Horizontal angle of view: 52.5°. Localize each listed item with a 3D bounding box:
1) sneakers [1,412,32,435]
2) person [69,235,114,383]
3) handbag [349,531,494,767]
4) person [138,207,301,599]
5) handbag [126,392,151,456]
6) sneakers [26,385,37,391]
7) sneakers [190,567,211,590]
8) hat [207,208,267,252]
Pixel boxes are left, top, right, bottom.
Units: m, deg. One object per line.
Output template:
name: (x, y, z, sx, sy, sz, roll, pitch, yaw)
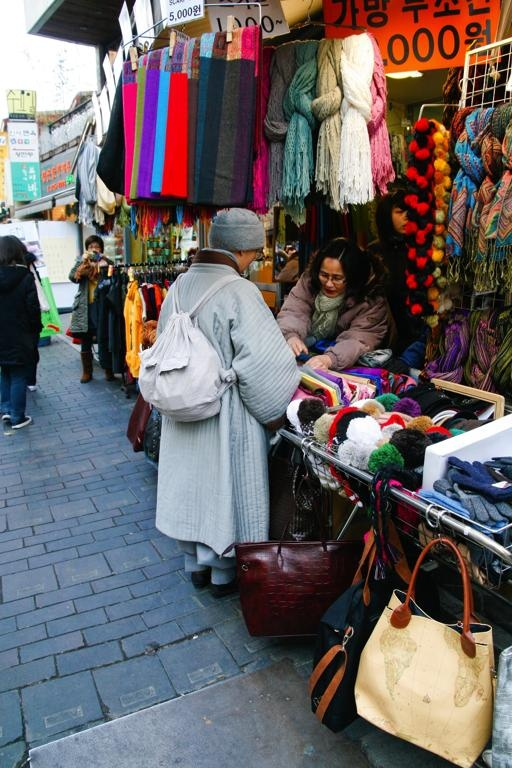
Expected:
sneakers: (-2.529, 0.416, 5.451, 0.134, 0.156, 0.382, 5, 15, 16)
person: (-2.170, -0.952, 6.808, 0.592, 1.953, 1.052, -6, 11, -20)
handbag: (0.374, 0.589, 1.203, 0.347, 0.543, 0.118, 7, 14, 43)
person: (-0.201, 0.093, 2.481, 0.717, 1.705, 0.728, 0, 18, -3)
handbag: (-0.893, 0.326, 3.911, 0.172, 0.623, 0.445, 2, 12, -16)
sneakers: (-2.940, 0.054, 6.798, 0.069, 0.090, 0.198, -8, 3, -30)
sneakers: (-0.291, 1.005, 2.697, 0.056, 0.068, 0.153, 2, 2, 8)
hat: (-0.073, -0.691, 2.353, 0.204, 0.141, 0.207, -6, 27, -19)
